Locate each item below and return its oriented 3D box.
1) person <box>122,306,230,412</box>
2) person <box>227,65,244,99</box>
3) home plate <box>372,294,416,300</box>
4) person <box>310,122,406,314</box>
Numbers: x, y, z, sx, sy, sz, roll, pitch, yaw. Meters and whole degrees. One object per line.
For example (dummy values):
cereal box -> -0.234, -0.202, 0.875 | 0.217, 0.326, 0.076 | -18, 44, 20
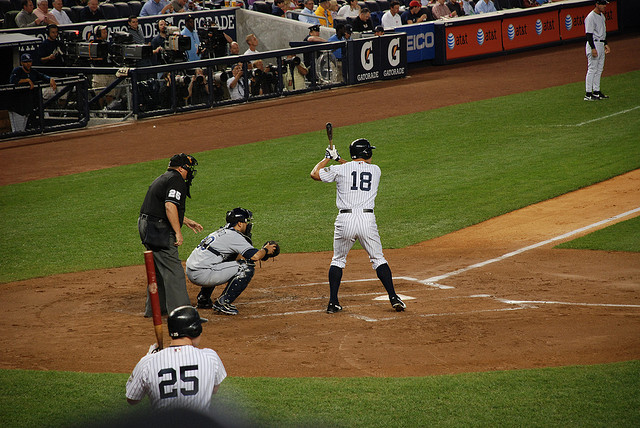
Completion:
person -> -1.690, 1.696, 10.263 | 1.115, 1.144, 0.452 | -4, 10, -9
person -> -2.448, -3.762, 25.562 | 0.503, 0.958, 0.280 | -7, 11, -19
home plate -> 1.206, 1.358, 14.489 | 0.704, 0.054, 0.259 | -1, 8, 6
person -> 0.583, 0.051, 14.021 | 1.367, 2.934, 1.078 | -4, 10, -1
